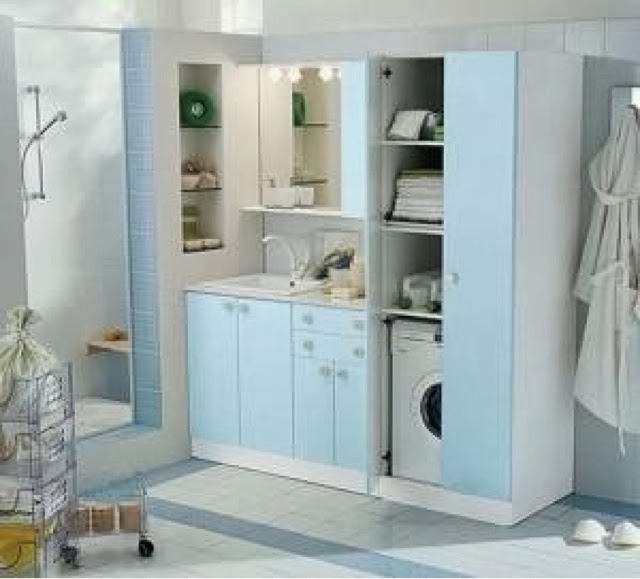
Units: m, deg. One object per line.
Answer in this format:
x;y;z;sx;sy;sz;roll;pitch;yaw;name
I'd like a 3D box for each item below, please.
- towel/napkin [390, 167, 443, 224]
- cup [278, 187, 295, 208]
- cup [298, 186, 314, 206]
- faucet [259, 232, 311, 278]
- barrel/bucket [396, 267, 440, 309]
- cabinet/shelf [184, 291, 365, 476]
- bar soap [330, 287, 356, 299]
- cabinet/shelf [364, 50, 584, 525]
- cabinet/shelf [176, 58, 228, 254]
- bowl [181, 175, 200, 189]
0.476;-0.469;3.277;0.212;0.104;0.287;6;17;19;towel/napkin
-0.222;-0.612;4.328;0.123;0.141;0.125;0;13;0;cup
-0.098;-0.622;4.358;0.126;0.131;0.104;-1;12;-4;cup
-0.233;-0.232;4.461;0.327;0.298;0.506;-1;3;-6;faucet
0.528;-0.015;3.477;0.139;0.168;0.244;12;20;39;barrel/bucket
-0.234;0.534;3.888;1.012;0.777;0.393;4;8;29;cabinet/shelf
0.136;0.019;3.805;0.148;0.065;0.092;-1;3;4;bar soap
0.759;-0.055;3.285;1.040;2.432;0.749;0;2;22;cabinet/shelf
-0.767;-0.864;4.256;0.282;1.241;0.398;-1;2;-11;cabinet/shelf
-0.820;-0.685;4.152;0.048;0.107;0.139;0;3;35;bowl
